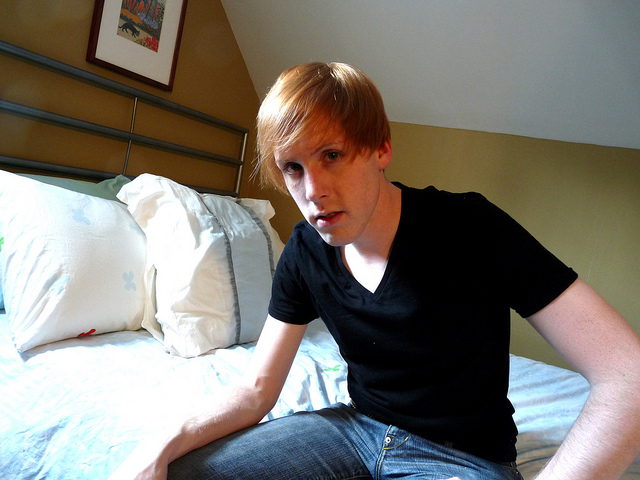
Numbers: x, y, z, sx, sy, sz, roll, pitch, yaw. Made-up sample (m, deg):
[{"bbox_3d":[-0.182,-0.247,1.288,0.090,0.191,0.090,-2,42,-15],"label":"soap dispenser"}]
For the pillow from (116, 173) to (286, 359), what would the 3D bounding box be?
[{"bbox_3d":[-0.453,0.112,1.771,0.205,0.751,0.700,-19,-26,36],"label":"pillow"}]
